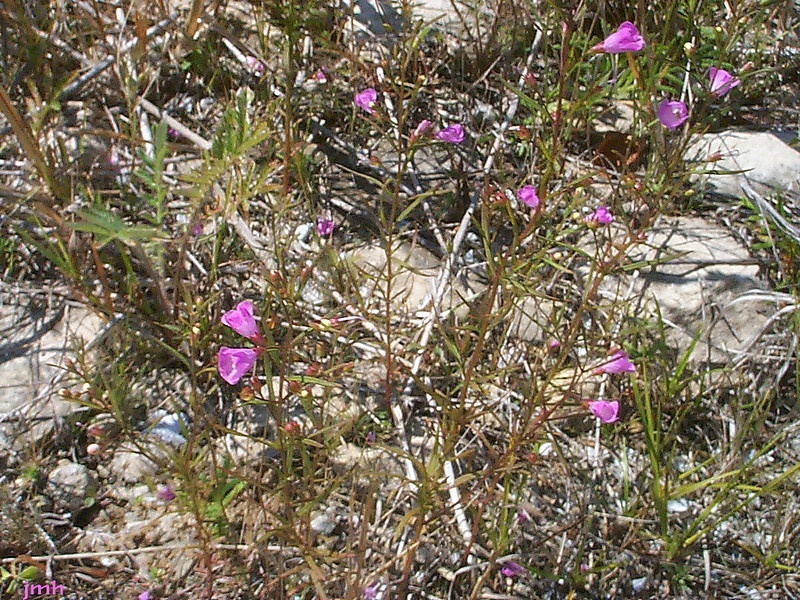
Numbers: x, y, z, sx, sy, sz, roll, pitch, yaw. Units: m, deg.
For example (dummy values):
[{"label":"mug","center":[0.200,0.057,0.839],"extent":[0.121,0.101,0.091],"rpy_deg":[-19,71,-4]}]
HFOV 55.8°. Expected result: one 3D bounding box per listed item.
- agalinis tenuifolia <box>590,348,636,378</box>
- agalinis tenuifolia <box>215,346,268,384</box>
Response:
[{"label":"agalinis tenuifolia","center":[0.747,0.228,2.647],"extent":[0.131,0.078,0.114],"rpy_deg":[-23,89,17]},{"label":"agalinis tenuifolia","center":[-0.554,0.206,2.622],"extent":[0.140,0.060,0.130],"rpy_deg":[-30,88,16]}]
